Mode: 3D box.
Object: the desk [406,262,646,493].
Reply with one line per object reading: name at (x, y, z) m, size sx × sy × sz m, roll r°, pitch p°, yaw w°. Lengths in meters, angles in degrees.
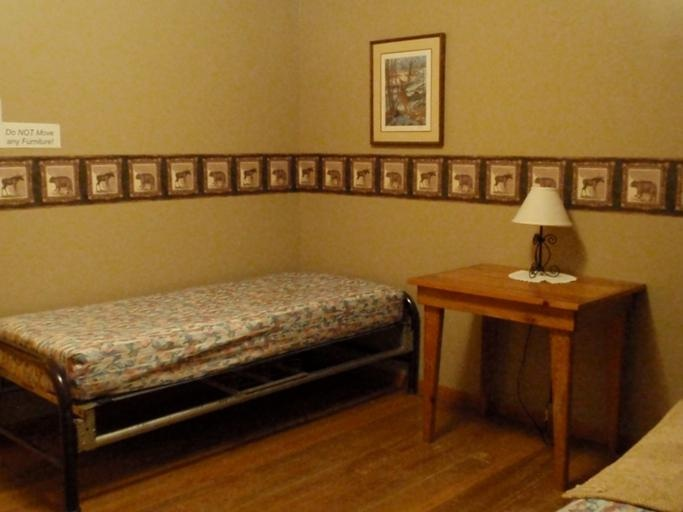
desk at (1.087, 0.659, 3.115) m, size 0.868 × 0.963 × 1.083 m, roll -3°, pitch 5°, yaw -39°
